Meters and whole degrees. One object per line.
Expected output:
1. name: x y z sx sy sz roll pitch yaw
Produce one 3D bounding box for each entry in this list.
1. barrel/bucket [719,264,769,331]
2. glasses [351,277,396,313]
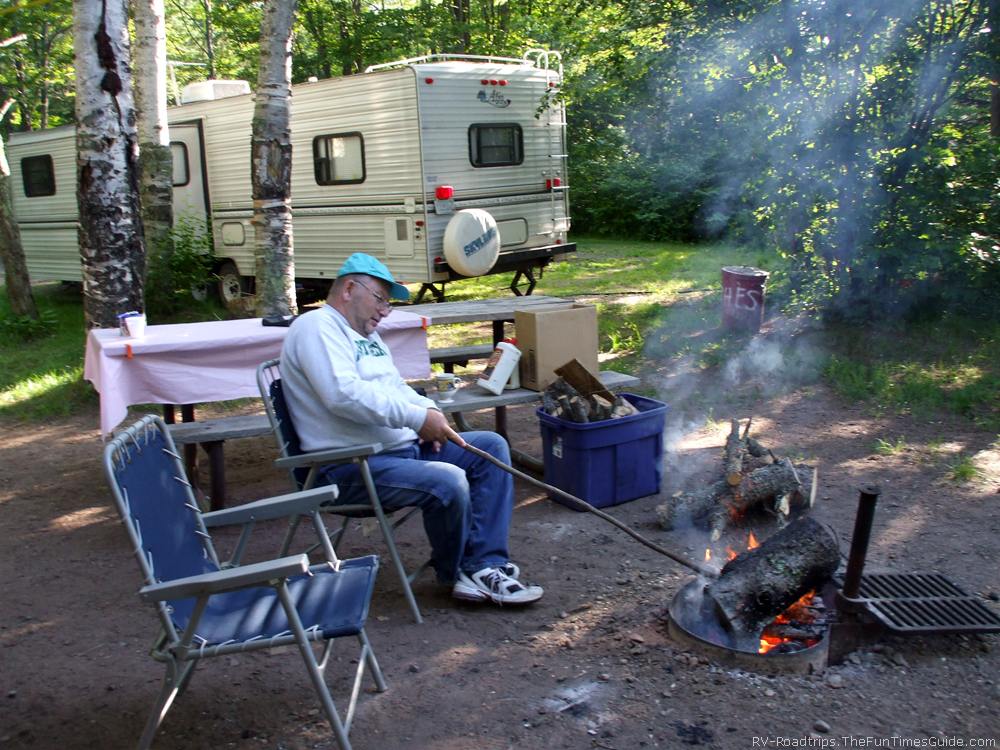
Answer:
1. barrel/bucket: 2.691 -0.830 10.282 0.510 0.687 0.355 8 21 32
2. glasses: -0.724 -0.429 5.072 0.209 0.069 0.192 22 7 22
